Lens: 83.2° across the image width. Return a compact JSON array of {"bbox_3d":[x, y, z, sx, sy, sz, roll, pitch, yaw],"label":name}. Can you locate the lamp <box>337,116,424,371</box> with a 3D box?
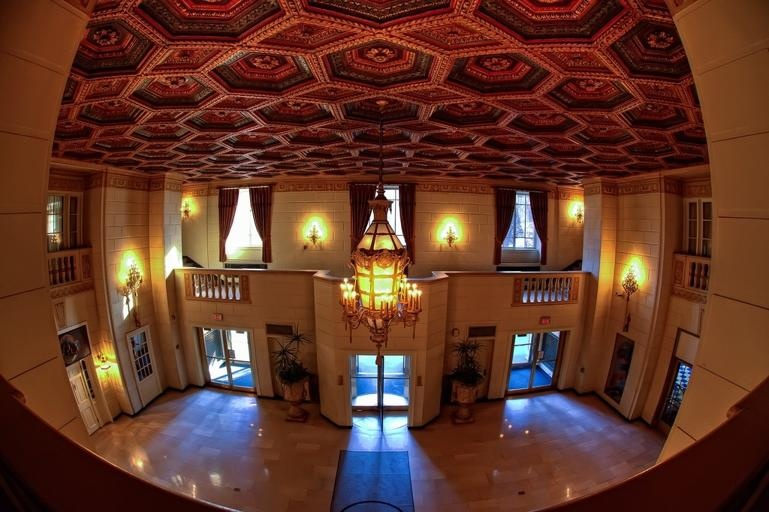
[{"bbox_3d":[-0.057,0.231,6.426,1.166,2.754,0.820,-1,9,-6],"label":"lamp"}]

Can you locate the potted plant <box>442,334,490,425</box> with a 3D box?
[{"bbox_3d":[1.919,2.853,10.190,0.811,1.686,1.205,2,9,9],"label":"potted plant"}]

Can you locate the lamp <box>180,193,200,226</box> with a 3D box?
[{"bbox_3d":[-5.954,-1.478,13.318,0.657,0.921,0.176,4,10,23],"label":"lamp"}]

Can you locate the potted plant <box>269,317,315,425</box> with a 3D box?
[{"bbox_3d":[-2.197,2.825,10.204,0.996,1.852,0.883,-10,-11,5],"label":"potted plant"}]

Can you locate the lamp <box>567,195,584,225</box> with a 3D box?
[{"bbox_3d":[5.865,-1.411,13.316,0.576,0.872,0.164,-4,10,-24],"label":"lamp"}]

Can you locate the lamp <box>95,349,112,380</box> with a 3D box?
[{"bbox_3d":[-6.413,2.487,9.857,0.236,0.639,0.281,4,10,24],"label":"lamp"}]
